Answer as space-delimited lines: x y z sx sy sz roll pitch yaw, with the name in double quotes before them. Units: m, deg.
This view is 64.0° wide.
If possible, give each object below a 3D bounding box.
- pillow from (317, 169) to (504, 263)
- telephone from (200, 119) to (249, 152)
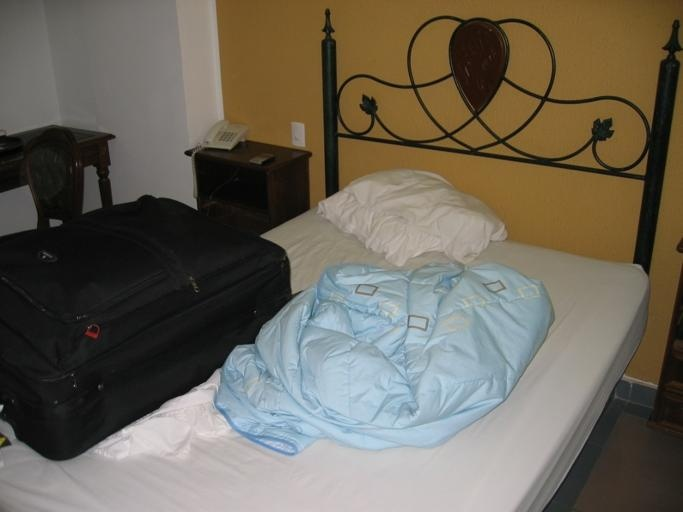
"pillow" 0.338 -0.202 2.679 0.501 0.175 0.596 -25 36 -33
"telephone" -0.706 -0.722 3.298 0.172 0.094 0.234 14 41 23
